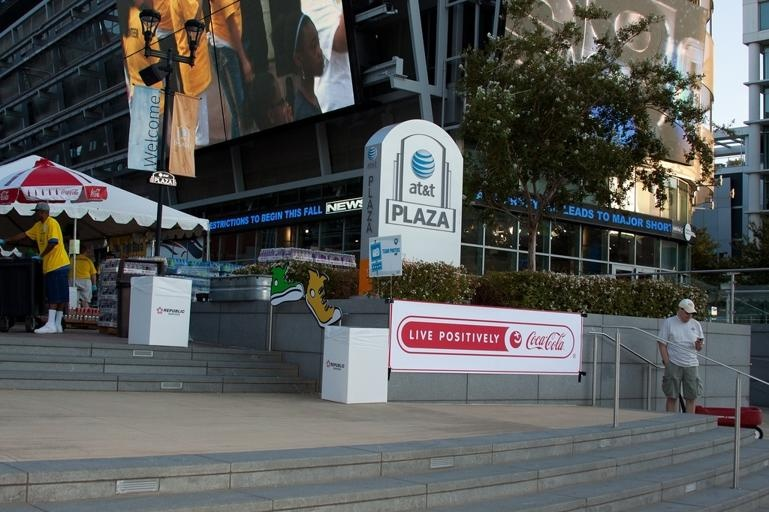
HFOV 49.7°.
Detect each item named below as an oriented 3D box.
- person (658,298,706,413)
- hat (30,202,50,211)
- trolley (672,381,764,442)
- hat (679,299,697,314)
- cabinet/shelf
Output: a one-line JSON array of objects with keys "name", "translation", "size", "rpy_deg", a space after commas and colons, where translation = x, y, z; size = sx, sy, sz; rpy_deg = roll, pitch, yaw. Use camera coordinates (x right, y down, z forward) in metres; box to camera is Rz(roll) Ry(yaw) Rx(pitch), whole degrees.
[{"name": "person", "translation": [6.674, 2.223, 18.704], "size": [0.919, 2.498, 0.975], "rpy_deg": [0, -7, 20]}, {"name": "hat", "translation": [-7.541, -1.089, 18.312], "size": [0.237, 0.240, 0.404], "rpy_deg": [4, -7, -14]}, {"name": "trolley", "translation": [7.619, 3.582, 18.862], "size": [1.697, 1.042, 1.053], "rpy_deg": [-3, -6, 24]}, {"name": "hat", "translation": [6.778, 1.114, 18.756], "size": [0.350, 0.265, 0.481], "rpy_deg": [-1, 7, -23]}, {"name": "cabinet/shelf", "translation": [-6.118, 0.978, 20.074], "size": [0.987, 1.962, 1.866], "rpy_deg": [7, -9, -38]}]
